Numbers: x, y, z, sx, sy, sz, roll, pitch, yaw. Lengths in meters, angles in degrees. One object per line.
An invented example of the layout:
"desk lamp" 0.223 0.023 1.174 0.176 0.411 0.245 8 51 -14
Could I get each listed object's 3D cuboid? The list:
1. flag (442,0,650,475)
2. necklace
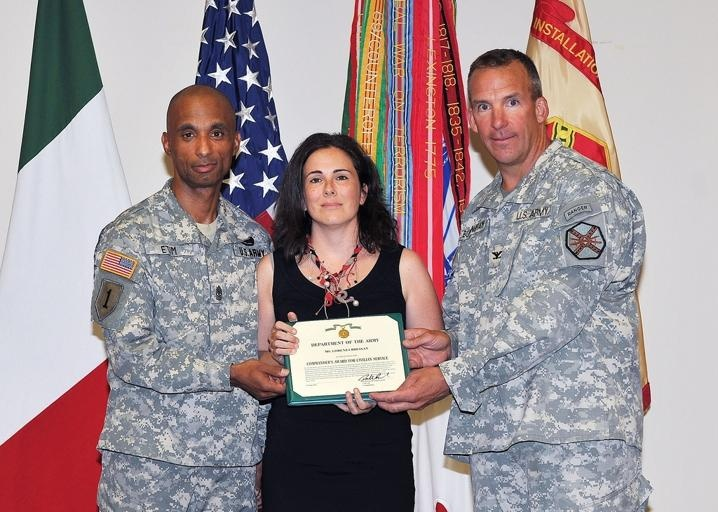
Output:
"flag" 0.871 0.046 3.446 0.940 2.135 0.476 -1 -6 12
"necklace" -0.116 0.128 3.557 0.357 0.635 0.106 -2 -37 1
